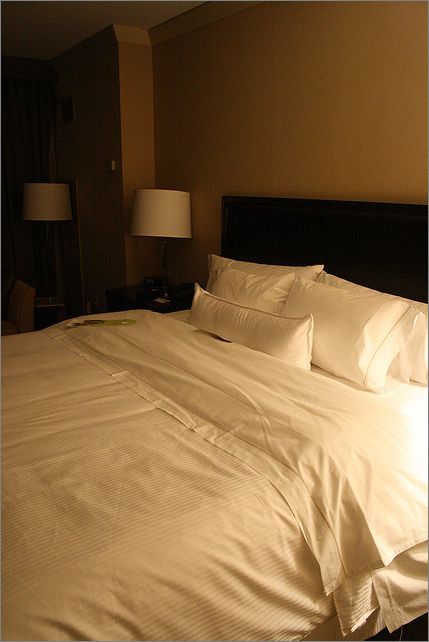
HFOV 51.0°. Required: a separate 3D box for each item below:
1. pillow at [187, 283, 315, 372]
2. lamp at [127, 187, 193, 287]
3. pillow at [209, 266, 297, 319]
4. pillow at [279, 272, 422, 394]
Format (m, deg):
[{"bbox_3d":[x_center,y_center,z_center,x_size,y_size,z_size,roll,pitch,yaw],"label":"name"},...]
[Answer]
[{"bbox_3d":[0.127,0.006,1.984,0.654,0.224,0.110,19,20,35],"label":"pillow"},{"bbox_3d":[-0.389,-0.688,3.374,0.477,0.859,0.470,18,23,40],"label":"lamp"},{"bbox_3d":[0.178,-0.189,2.316,0.474,0.212,0.172,17,17,34],"label":"pillow"},{"bbox_3d":[0.476,0.053,1.846,0.228,0.386,0.588,25,-4,-40],"label":"pillow"}]
